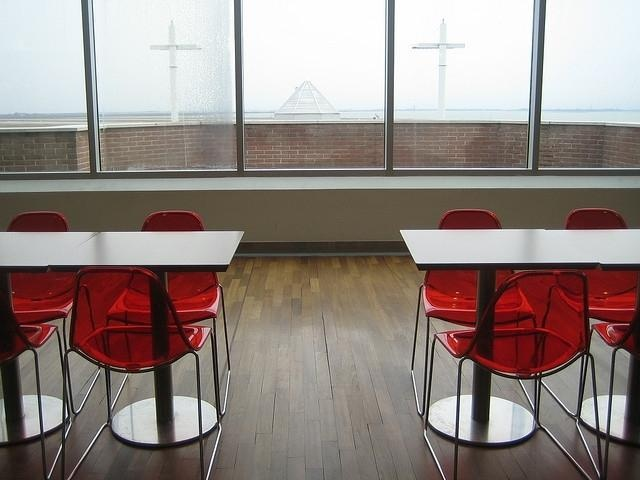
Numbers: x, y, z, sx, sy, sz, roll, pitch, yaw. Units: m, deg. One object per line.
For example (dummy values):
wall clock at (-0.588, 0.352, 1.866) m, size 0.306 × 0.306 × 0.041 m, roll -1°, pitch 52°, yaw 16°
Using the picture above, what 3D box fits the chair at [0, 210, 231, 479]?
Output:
chair at (-0.960, 0.549, 2.611) m, size 0.822 × 1.055 × 0.965 m, roll -5°, pitch 14°, yaw -21°
